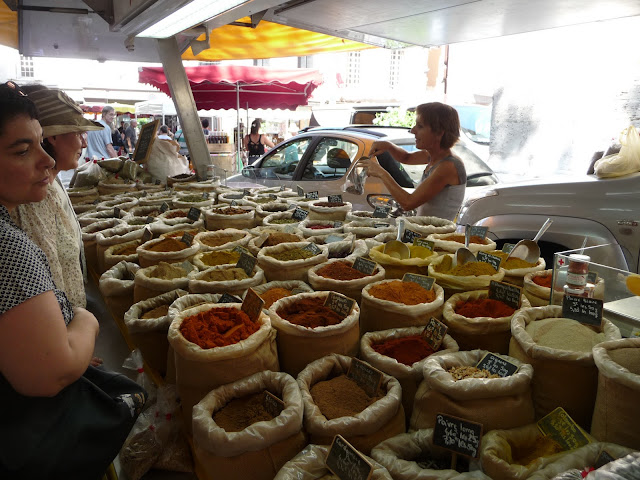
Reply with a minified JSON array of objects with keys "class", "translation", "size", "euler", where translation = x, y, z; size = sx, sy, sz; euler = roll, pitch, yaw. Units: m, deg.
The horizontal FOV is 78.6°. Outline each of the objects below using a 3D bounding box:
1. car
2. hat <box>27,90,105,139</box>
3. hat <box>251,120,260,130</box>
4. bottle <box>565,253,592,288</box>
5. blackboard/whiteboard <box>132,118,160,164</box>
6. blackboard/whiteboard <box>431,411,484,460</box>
[{"class":"car","translation":[-0.098,-0.801,4.840],"size":[2.747,1.204,1.323],"euler":[6,25,16]},{"class":"hat","translation":[-1.155,-0.593,1.741],"size":[0.309,0.114,0.222],"euler":[-17,17,-7]},{"class":"hat","translation":[-1.167,-2.166,7.292],"size":[0.165,0.197,0.191],"euler":[-4,46,-10]},{"class":"bottle","translation":[0.995,0.110,1.498],"size":[0.072,0.124,0.176],"euler":[14,25,35]},{"class":"blackboard/whiteboard","translation":[-1.904,-1.072,4.271],"size":[0.301,0.474,0.618],"euler":[-13,23,-28]},{"class":"blackboard/whiteboard","translation":[0.422,0.588,1.179],"size":[0.183,0.121,0.024],"euler":[9,0,34]}]
